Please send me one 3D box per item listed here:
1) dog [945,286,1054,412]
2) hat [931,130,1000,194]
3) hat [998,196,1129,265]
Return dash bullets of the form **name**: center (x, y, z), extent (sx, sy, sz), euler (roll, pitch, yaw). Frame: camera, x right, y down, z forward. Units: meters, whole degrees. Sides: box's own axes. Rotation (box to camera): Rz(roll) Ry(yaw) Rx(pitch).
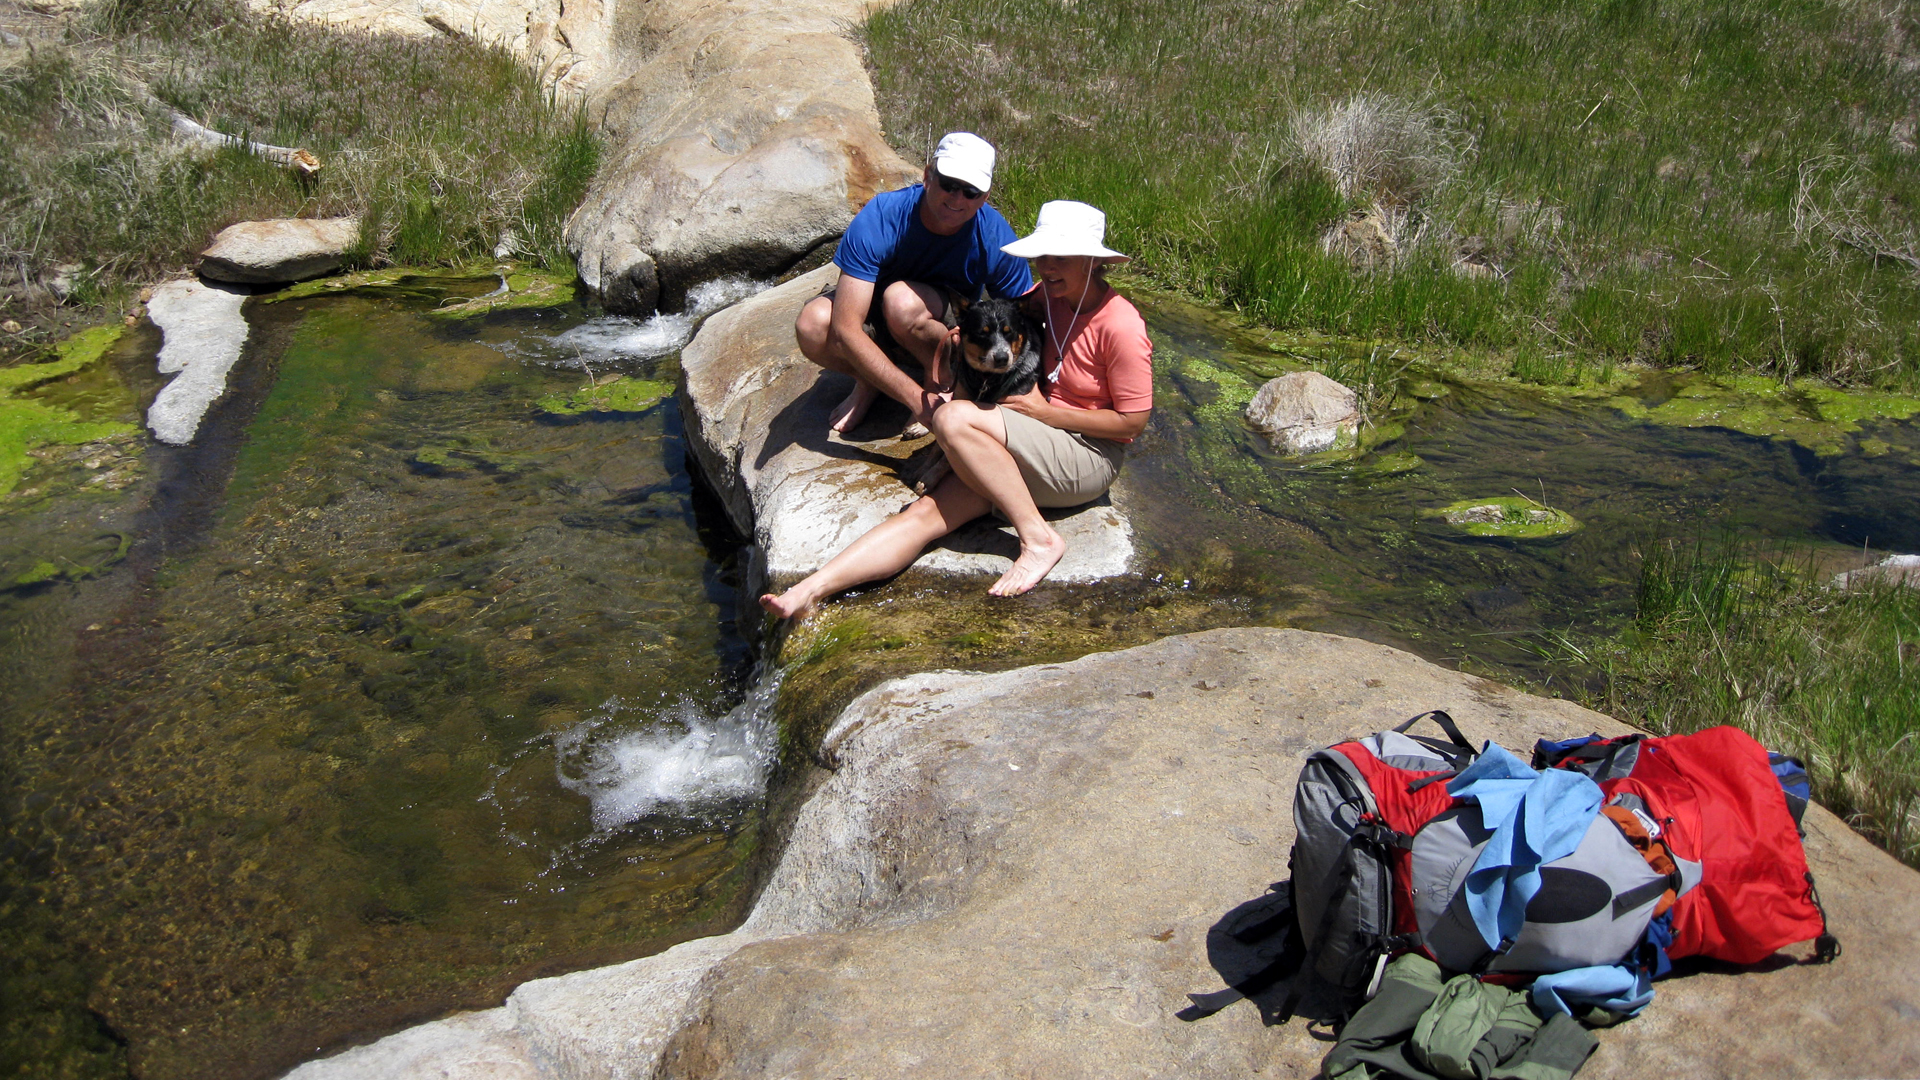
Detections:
- **dog**: center (0.269, -1.291, 9.805), extent (0.512, 0.663, 0.864), euler (0, 70, 7)
- **hat**: center (0.030, -2.622, 9.882), extent (0.392, 0.347, 0.314), euler (18, 36, 7)
- **hat**: center (0.702, -2.059, 9.619), extent (0.717, 0.419, 0.412), euler (13, 35, 0)
